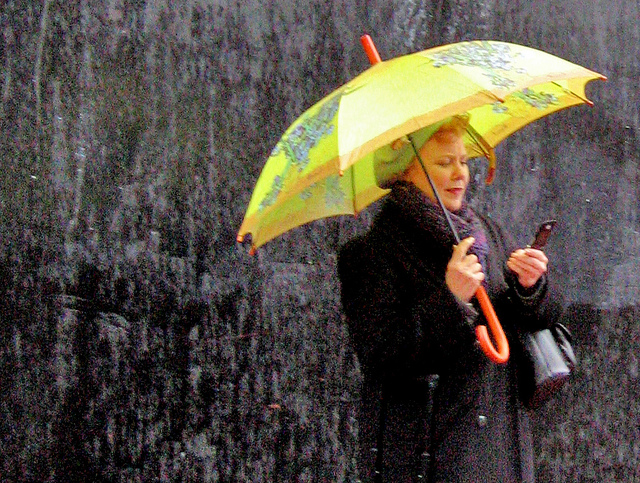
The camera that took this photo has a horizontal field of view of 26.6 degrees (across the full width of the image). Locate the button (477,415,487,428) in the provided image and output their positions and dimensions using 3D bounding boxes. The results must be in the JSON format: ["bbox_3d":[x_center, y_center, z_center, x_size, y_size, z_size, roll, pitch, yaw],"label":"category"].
[{"bbox_3d":[0.871,0.964,7.282,0.052,0.054,0.010,4,2,-10],"label":"button"}]

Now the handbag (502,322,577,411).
[{"bbox_3d":[1.162,0.667,7.285,0.341,0.414,0.299,-17,-23,-27],"label":"handbag"}]

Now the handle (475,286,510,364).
[{"bbox_3d":[0.895,0.428,7.081,0.183,0.315,0.348,4,2,7],"label":"handle"}]

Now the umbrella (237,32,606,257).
[{"bbox_3d":[0.340,-0.545,6.953,1.353,0.561,1.375,-43,-13,34],"label":"umbrella"}]
